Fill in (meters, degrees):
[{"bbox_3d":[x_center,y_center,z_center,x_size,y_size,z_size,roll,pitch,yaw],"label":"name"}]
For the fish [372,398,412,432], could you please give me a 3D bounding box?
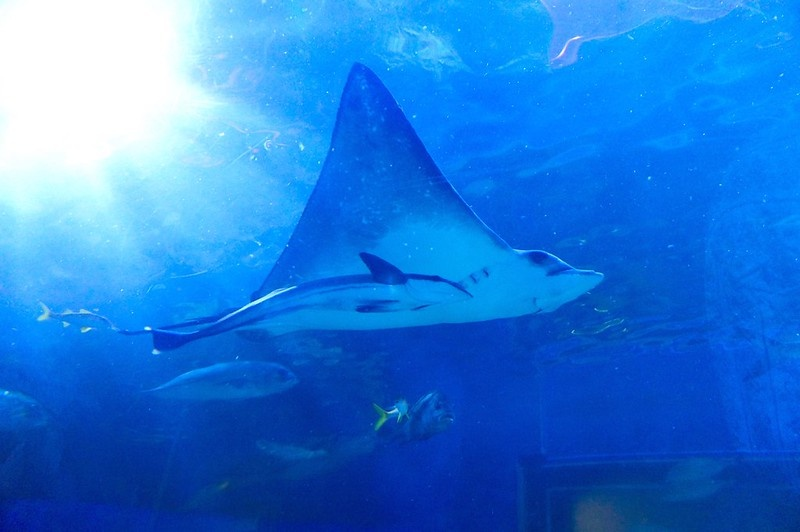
[{"bbox_3d":[-0.145,2.455,13.138,0.371,0.451,1.234,-3,-6,24],"label":"fish"}]
